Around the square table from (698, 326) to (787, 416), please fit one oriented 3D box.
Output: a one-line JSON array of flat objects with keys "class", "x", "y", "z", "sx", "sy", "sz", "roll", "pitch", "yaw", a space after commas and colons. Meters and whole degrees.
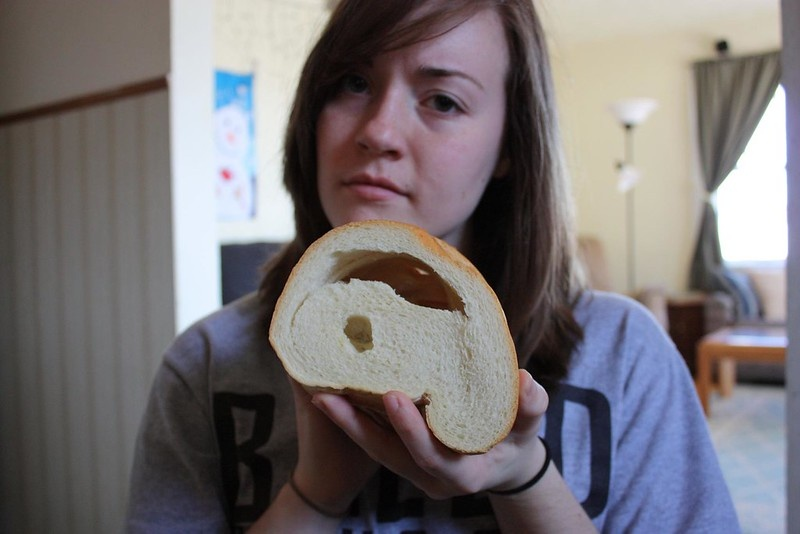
[{"class": "square table", "x": 1.232, "y": 0.377, "z": 2.719, "sx": 0.252, "sy": 0.179, "sz": 0.380, "roll": 1, "pitch": 3, "yaw": 26}]
